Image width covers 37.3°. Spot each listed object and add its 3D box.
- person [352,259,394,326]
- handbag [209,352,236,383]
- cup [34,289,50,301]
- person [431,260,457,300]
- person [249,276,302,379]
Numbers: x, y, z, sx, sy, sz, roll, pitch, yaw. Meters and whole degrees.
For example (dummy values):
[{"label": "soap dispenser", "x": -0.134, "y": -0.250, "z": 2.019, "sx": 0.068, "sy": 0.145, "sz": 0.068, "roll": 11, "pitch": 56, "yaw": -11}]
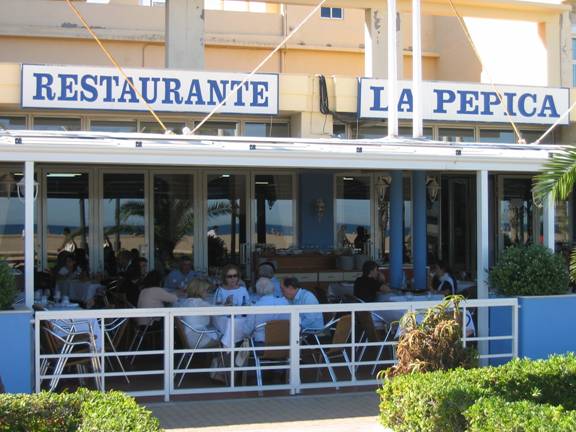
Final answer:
[{"label": "person", "x": 1.412, "y": 1.226, "z": 13.804, "sx": 0.532, "sy": 1.071, "sz": 0.424, "roll": 0, "pitch": 18, "yaw": -5}, {"label": "handbag", "x": -0.961, "y": 2.194, "z": 12.258, "sx": 0.140, "sy": 0.484, "sz": 0.320, "roll": 9, "pitch": -10, "yaw": -31}, {"label": "cup", "x": -4.062, "y": 1.282, "z": 14.019, "sx": 0.250, "sy": 0.122, "sz": 0.200, "roll": 7, "pitch": -1, "yaw": -10}, {"label": "person", "x": 2.548, "y": 1.027, "z": 13.904, "sx": 0.394, "sy": 0.790, "sz": 0.696, "roll": -1, "pitch": 2, "yaw": 12}, {"label": "person", "x": -0.332, "y": 1.470, "z": 12.426, "sx": 0.800, "sy": 1.552, "sz": 1.000, "roll": -1, "pitch": 4, "yaw": -9}]
